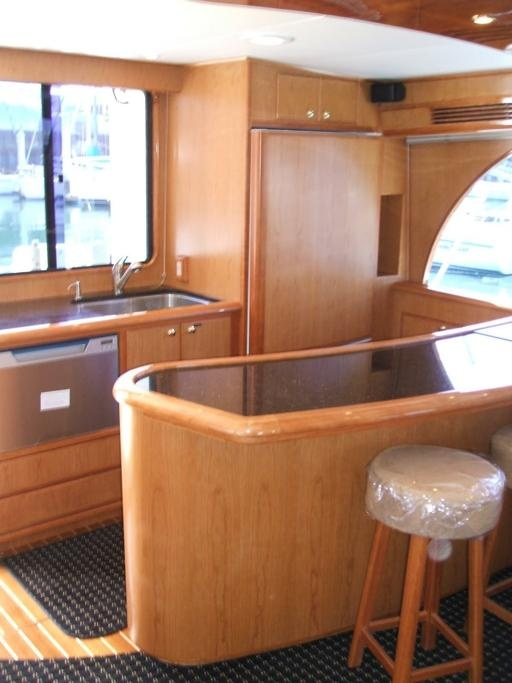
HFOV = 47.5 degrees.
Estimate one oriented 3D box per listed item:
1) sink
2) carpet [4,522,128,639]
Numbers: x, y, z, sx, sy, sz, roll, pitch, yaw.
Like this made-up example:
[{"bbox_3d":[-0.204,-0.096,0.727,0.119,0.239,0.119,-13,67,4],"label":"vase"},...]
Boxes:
[{"bbox_3d":[-0.631,-0.209,3.197,0.742,0.111,0.338,-5,10,-28],"label":"sink"},{"bbox_3d":[-0.723,0.897,2.170,0.320,0.048,0.387,-4,17,-35],"label":"carpet"}]
